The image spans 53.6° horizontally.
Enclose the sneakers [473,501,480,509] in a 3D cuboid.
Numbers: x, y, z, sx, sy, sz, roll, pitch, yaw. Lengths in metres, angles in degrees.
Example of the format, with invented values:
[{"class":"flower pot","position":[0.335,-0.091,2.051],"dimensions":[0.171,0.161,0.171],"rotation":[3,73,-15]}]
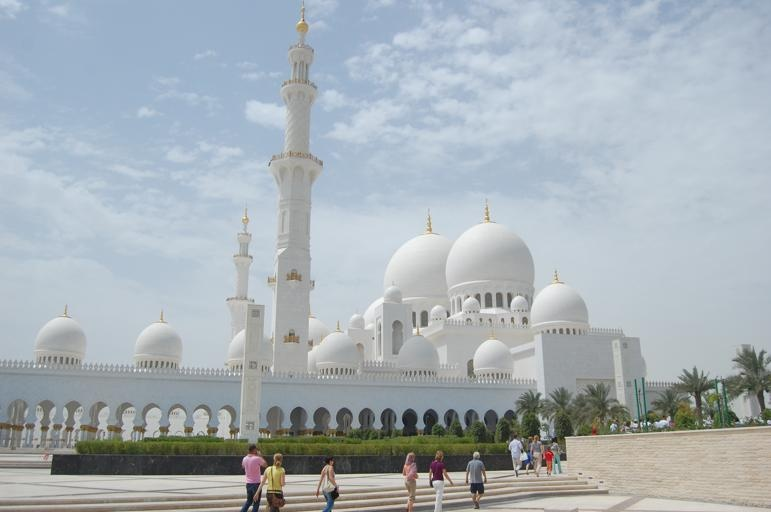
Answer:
[{"class":"sneakers","position":[3.225,8.884,27.176],"dimensions":[0.189,0.235,0.559],"rotation":[-3,-41,4]}]

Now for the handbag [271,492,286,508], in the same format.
[{"class":"handbag","position":[-3.321,7.463,23.323],"dimensions":[0.369,0.419,0.221],"rotation":[1,-18,-8]}]
